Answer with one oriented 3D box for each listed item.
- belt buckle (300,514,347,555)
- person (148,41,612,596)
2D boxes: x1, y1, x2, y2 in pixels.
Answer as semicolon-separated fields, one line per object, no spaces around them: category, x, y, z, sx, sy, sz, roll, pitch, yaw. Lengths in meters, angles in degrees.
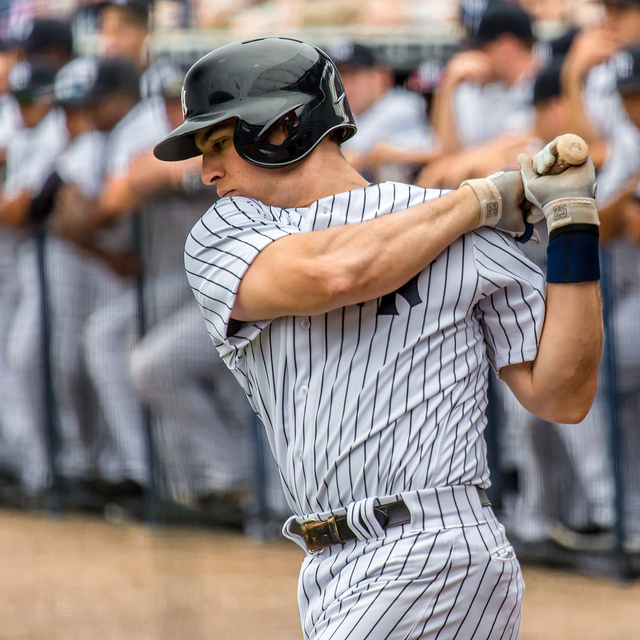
belt buckle;-0.001;0.704;4.969;0.167;0.152;0.092;4;69;-43
person;0.273;-0.008;5.055;1.217;1.470;1.487;-16;40;-12
